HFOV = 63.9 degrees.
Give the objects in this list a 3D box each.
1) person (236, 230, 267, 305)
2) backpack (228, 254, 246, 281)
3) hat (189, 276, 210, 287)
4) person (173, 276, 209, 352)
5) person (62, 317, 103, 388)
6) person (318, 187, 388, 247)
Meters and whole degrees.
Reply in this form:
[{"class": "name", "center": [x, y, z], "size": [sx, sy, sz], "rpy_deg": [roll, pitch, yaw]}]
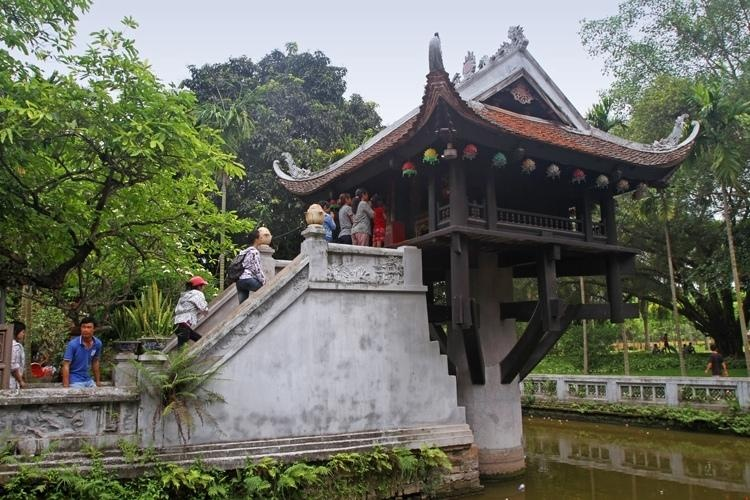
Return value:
[{"class": "person", "center": [-2.684, 0.298, 13.322], "size": [0.609, 1.698, 1.132], "rpy_deg": [-2, -2, -10]}, {"class": "backpack", "center": [-3.139, 0.362, 13.274], "size": [0.625, 0.619, 0.435], "rpy_deg": [4, -4, -17]}, {"class": "hat", "center": [-3.582, 0.635, 12.502], "size": [0.206, 0.148, 0.287], "rpy_deg": [2, 6, 41]}, {"class": "person", "center": [-3.872, 1.274, 12.820], "size": [0.644, 1.462, 1.471], "rpy_deg": [-1, -2, -18]}, {"class": "person", "center": [-5.919, 2.076, 12.337], "size": [0.640, 1.448, 0.742], "rpy_deg": [-2, -2, -13]}, {"class": "person", "center": [-0.338, -0.815, 14.995], "size": [1.086, 1.409, 1.279], "rpy_deg": [-2, -2, -1]}]
